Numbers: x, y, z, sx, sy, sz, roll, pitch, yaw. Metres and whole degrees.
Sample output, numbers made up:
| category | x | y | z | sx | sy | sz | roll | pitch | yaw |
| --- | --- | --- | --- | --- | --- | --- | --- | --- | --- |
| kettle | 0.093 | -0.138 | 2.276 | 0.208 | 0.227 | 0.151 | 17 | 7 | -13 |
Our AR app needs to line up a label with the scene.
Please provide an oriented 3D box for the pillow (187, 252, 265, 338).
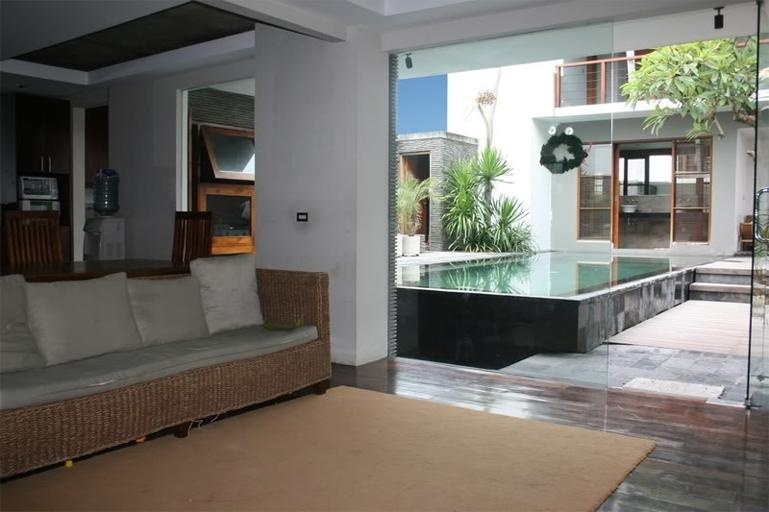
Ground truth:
| category | x | y | z | sx | sy | sz | roll | pitch | yaw |
| --- | --- | --- | --- | --- | --- | --- | --- | --- | --- |
| pillow | -1.289 | 0.339 | 4.226 | 0.293 | 0.476 | 0.571 | 12 | 18 | 33 |

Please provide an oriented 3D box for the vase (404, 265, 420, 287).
| category | x | y | z | sx | sy | sz | roll | pitch | yaw |
| --- | --- | --- | --- | --- | --- | --- | --- | --- | --- |
| vase | 0.285 | 0.217 | 5.699 | 0.214 | 0.213 | 0.202 | 0 | -1 | 2 |

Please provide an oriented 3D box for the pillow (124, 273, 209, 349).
| category | x | y | z | sx | sy | sz | roll | pitch | yaw |
| --- | --- | --- | --- | --- | --- | --- | --- | --- | --- |
| pillow | -1.637 | 0.396 | 3.886 | 0.531 | 0.490 | 0.158 | -7 | -22 | -46 |

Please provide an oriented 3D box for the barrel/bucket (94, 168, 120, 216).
| category | x | y | z | sx | sy | sz | roll | pitch | yaw |
| --- | --- | --- | --- | --- | --- | --- | --- | --- | --- |
| barrel/bucket | -4.153 | -0.965 | 7.779 | 0.359 | 0.671 | 0.562 | -3 | 8 | -27 |

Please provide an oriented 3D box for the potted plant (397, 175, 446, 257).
| category | x | y | z | sx | sy | sz | roll | pitch | yaw |
| --- | --- | --- | --- | --- | --- | --- | --- | --- | --- |
| potted plant | 0.259 | -0.373 | 5.679 | 0.581 | 0.644 | 0.509 | -7 | 2 | -36 |

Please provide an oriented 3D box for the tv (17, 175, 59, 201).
| category | x | y | z | sx | sy | sz | roll | pitch | yaw |
| --- | --- | --- | --- | --- | --- | --- | --- | --- | --- |
| tv | -5.825 | -1.147 | 8.755 | 0.397 | 0.398 | 0.665 | 0 | -1 | 23 |
